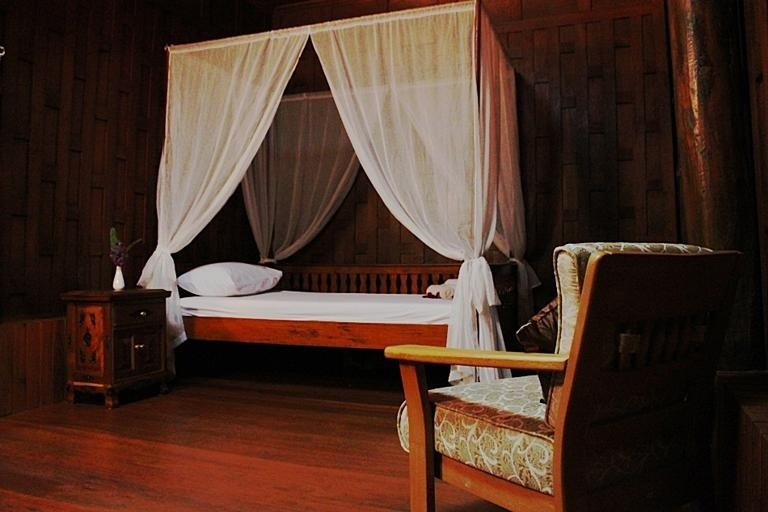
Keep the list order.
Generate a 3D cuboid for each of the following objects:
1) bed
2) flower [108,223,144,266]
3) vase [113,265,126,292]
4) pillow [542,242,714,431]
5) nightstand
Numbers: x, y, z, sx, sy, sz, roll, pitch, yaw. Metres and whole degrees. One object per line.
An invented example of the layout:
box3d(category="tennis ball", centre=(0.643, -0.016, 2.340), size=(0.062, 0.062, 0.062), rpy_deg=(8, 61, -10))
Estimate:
box3d(category="bed", centre=(-0.196, -0.743, 4.971), size=(2.794, 2.800, 2.213), rpy_deg=(-2, -6, 17))
box3d(category="flower", centre=(-1.962, -0.087, 4.619), size=(0.228, 0.285, 0.170), rpy_deg=(6, 19, 17))
box3d(category="vase", centre=(-1.871, 0.151, 4.316), size=(0.058, 0.160, 0.223), rpy_deg=(-2, 6, -21))
box3d(category="pillow", centre=(0.900, 0.296, 2.262), size=(0.230, 0.670, 0.641), rpy_deg=(2, 2, 44))
box3d(category="nightstand", centre=(-1.886, 0.632, 4.350), size=(0.414, 0.775, 0.598), rpy_deg=(-1, -1, 21))
